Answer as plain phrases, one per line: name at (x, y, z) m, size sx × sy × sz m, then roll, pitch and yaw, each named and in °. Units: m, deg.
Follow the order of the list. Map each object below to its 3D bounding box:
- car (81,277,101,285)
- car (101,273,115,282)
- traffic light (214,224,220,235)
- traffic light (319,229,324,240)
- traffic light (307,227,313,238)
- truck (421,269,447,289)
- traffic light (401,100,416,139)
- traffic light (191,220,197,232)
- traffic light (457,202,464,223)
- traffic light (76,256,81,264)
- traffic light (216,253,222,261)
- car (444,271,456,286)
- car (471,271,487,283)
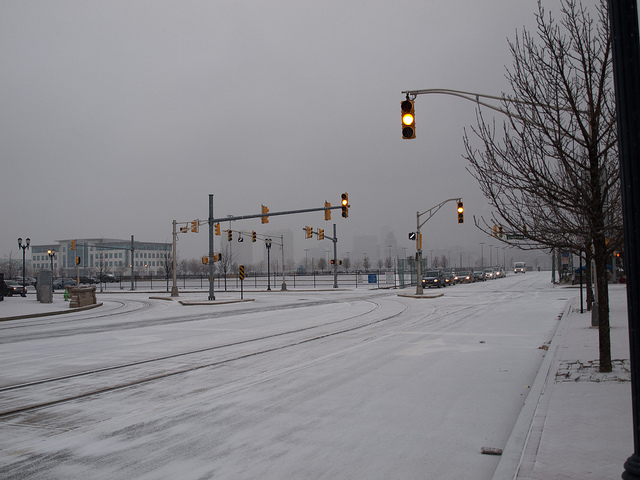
car at (-35.701, 6.332, 104.108) m, size 1.674 × 0.961 × 1.173 m, roll -1°, pitch -5°, yaw -2°
car at (-35.630, 6.304, 112.250) m, size 1.795 × 1.181 × 1.297 m, roll 1°, pitch -4°, yaw 14°
traffic light at (-7.035, -0.674, 45.914) m, size 0.206 × 0.636 × 1.260 m, roll -2°, pitch 4°, yaw -12°
traffic light at (0.076, -0.398, 54.314) m, size 0.326 × 0.734 × 1.487 m, roll 0°, pitch 4°, yaw 7°
traffic light at (-0.854, -0.525, 52.362) m, size 0.330 × 0.724 × 0.871 m, roll -2°, pitch 4°, yaw -9°
truck at (10.278, 3.388, 60.916) m, size 1.439 × 1.674 × 3.065 m, roll -5°, pitch -14°, yaw 20°
traffic light at (2.458, -3.276, 18.291) m, size 0.374 × 1.089 × 0.489 m, roll -3°, pitch 4°, yaw -23°
traffic light at (-9.050, -0.997, 48.327) m, size 0.341 × 0.733 × 0.774 m, roll -2°, pitch 4°, yaw -13°
traffic light at (7.565, -1.460, 36.183) m, size 0.230 × 1.061 × 0.665 m, roll 0°, pitch 4°, yaw 16°
traffic light at (-23.574, 1.992, 65.143) m, size 0.280 × 0.646 × 1.217 m, roll -2°, pitch 4°, yaw -12°
traffic light at (-7.170, 1.191, 47.267) m, size 0.356 × 0.546 × 0.734 m, roll 1°, pitch 4°, yaw -10°
car at (13.354, 3.977, 70.121) m, size 1.129 × 1.295 × 2.224 m, roll -5°, pitch -16°, yaw 18°
car at (20.849, 4.496, 87.751) m, size 1.444 × 1.441 × 3.030 m, roll -7°, pitch -13°, yaw 18°
